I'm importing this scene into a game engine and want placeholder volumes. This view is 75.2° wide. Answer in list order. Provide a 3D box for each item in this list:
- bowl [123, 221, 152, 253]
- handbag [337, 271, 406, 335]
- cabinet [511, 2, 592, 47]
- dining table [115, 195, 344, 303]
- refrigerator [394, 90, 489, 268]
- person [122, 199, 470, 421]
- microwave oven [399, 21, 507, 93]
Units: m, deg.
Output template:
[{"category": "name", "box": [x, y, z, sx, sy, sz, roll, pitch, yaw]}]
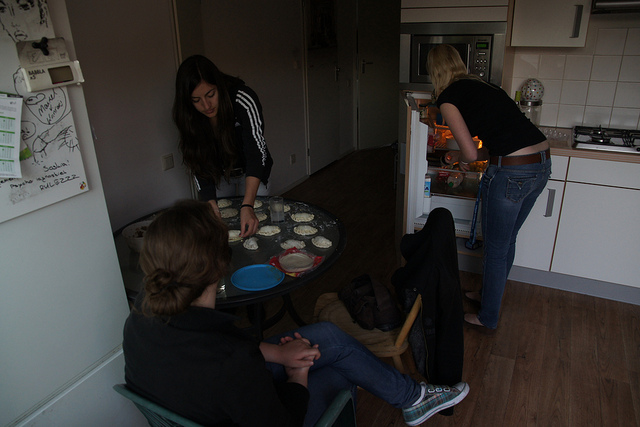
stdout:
[{"category": "bowl", "box": [-0.982, 0.127, 2.220, 0.172, 0.089, 0.171, 0, 15, 0]}, {"category": "handbag", "box": [0.356, 0.646, 2.588, 0.304, 0.284, 0.469, -17, 32, -19]}, {"category": "cabinet", "box": [1.771, -1.443, 3.268, 0.617, 0.419, 0.329, 6, 29, 13]}, {"category": "dining table", "box": [-0.322, 0.206, 2.428, 0.824, 0.199, 0.813, -3, 28, -2]}, {"category": "refrigerator", "box": [1.012, -0.256, 3.450, 0.725, 1.458, 0.698, 2, 22, 8]}, {"category": "person", "box": [-0.099, 0.350, 2.032, 1.494, 0.989, 0.720, -12, 30, -26]}, {"category": "microwave oven", "box": [1.159, -1.327, 3.526, 0.851, 0.545, 0.510, 19, 37, 33]}]
